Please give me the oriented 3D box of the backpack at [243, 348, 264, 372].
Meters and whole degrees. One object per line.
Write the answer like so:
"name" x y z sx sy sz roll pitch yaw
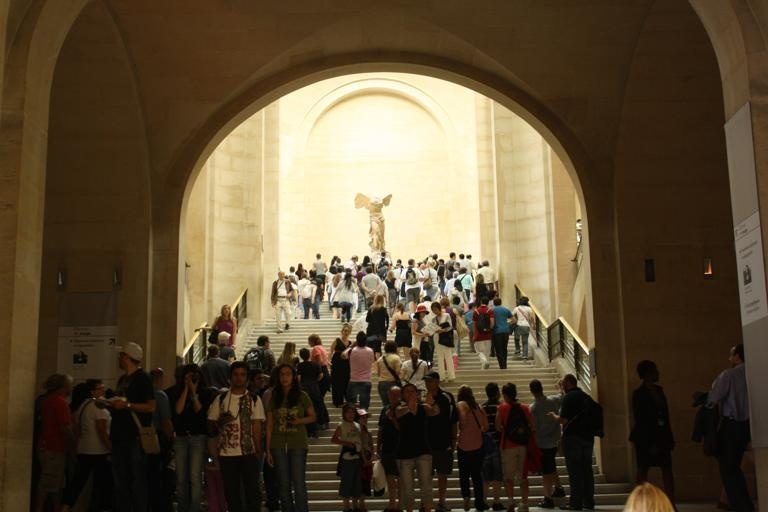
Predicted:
"backpack" -2.108 1.638 12.038 0.332 0.434 0.421 -7 -25 5

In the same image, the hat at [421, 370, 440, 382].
"hat" 0.654 1.647 10.420 0.265 0.140 0.193 13 -15 -3

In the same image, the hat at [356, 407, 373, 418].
"hat" -0.301 2.129 10.250 0.141 0.094 0.243 -5 -15 7

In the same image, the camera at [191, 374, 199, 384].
"camera" -2.441 1.571 9.687 0.075 0.069 0.129 19 17 -32

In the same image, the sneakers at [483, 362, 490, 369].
"sneakers" 2.015 2.138 14.710 0.168 0.167 0.090 6 -10 -32

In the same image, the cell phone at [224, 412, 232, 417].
"cell phone" -1.927 1.945 9.283 0.048 0.068 0.016 -30 -32 -22

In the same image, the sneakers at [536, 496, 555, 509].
"sneakers" 2.282 3.507 10.718 0.221 0.153 0.128 18 -23 -31

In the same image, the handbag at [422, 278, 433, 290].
"handbag" 1.026 0.609 18.072 0.328 0.333 0.183 2 -32 -2

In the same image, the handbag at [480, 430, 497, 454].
"handbag" 1.437 2.611 10.593 0.246 0.480 0.353 1 -4 7

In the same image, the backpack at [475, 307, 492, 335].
"backpack" 1.910 1.270 14.609 0.446 0.636 0.334 0 -17 1

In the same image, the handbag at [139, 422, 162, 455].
"handbag" -2.875 2.240 9.238 0.207 0.345 0.353 -9 -21 -24

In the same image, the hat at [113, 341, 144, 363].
"hat" -3.110 1.184 9.324 0.218 0.219 0.274 0 -15 -11

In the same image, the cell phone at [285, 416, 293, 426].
"cell phone" -1.181 2.050 9.434 0.084 0.100 0.044 -1 -15 -7

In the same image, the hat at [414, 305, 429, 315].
"hat" 0.729 1.039 14.619 0.242 0.132 0.254 3 -13 1

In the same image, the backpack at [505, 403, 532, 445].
"backpack" 1.822 2.317 10.368 0.440 0.626 0.349 6 -15 -23
